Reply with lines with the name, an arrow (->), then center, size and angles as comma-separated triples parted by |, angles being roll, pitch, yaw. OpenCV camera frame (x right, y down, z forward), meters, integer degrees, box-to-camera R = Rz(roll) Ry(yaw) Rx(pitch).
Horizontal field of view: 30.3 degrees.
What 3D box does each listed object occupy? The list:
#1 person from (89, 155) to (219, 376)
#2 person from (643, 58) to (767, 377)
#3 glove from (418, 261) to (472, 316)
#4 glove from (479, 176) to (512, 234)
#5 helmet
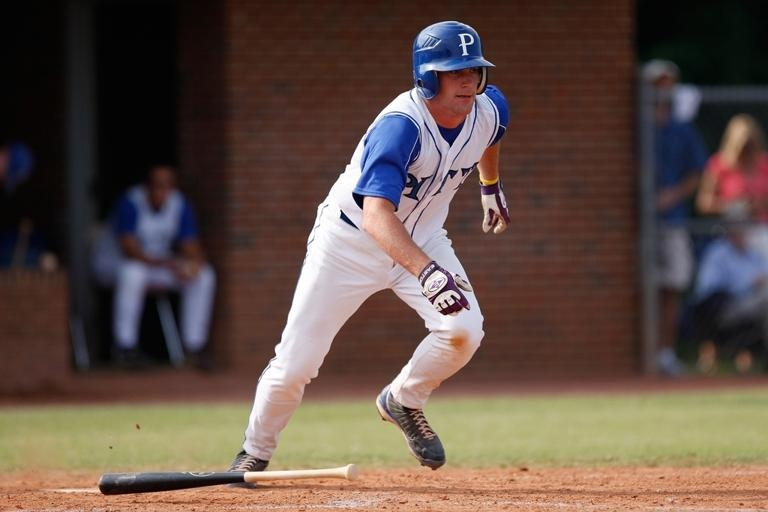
person -> -2.292, 0.127, 14.941 | 1.064, 2.054, 0.491 | 3, 3, -8
person -> 3.162, -0.376, 14.825 | 0.877, 3.188, 1.159 | 5, 3, 40
glove -> 0.419, 0.249, 10.293 | 0.335, 0.400, 0.120 | -37, 10, -18
glove -> 0.925, -0.404, 11.561 | 0.179, 0.422, 0.281 | -11, 19, -40
helmet -> 0.459, -1.504, 10.864 | 0.495, 0.526, 0.660 | -1, 4, -33
